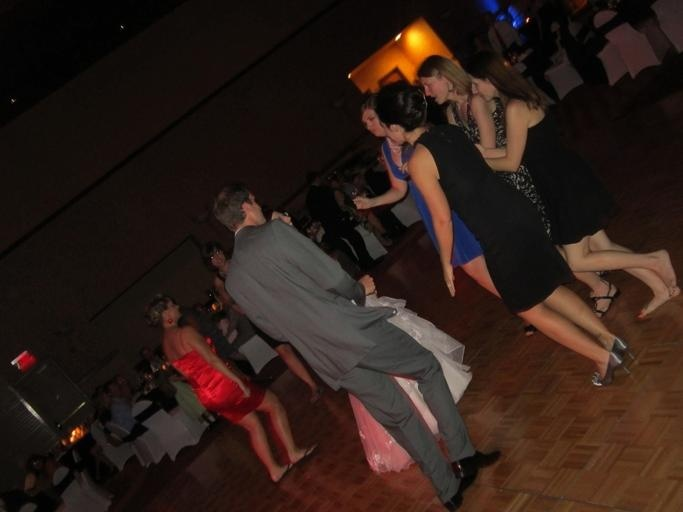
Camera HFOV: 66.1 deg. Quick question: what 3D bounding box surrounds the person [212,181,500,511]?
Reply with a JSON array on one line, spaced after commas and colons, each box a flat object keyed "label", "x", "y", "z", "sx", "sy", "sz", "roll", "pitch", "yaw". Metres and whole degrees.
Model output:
[{"label": "person", "x": 0.068, "y": 0.779, "z": 4.000, "sx": 1.077, "sy": 3.084, "sz": 1.084, "roll": -36, "pitch": 15, "yaw": 35}]

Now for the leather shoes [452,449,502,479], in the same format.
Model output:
[{"label": "leather shoes", "x": 0.832, "y": 1.288, "z": 3.263, "sx": 0.267, "sy": 0.123, "sz": 0.088, "roll": -25, "pitch": 28, "yaw": -25}]

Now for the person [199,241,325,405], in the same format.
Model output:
[{"label": "person", "x": -0.710, "y": 0.742, "z": 4.922, "sx": 0.403, "sy": 1.582, "sz": 0.421, "roll": -47, "pitch": 8, "yaw": -25}]

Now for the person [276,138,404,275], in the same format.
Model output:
[{"label": "person", "x": -0.028, "y": -0.546, "z": 6.094, "sx": 0.574, "sy": 1.665, "sz": 0.579, "roll": -47, "pitch": -21, "yaw": -25}]

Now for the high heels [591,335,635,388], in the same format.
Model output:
[{"label": "high heels", "x": 1.742, "y": 0.708, "z": 3.362, "sx": 0.196, "sy": 0.132, "sz": 0.380, "roll": -70, "pitch": -13, "yaw": -50}]

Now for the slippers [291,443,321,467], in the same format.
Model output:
[{"label": "slippers", "x": -0.298, "y": 1.560, "z": 4.227, "sx": 0.276, "sy": 0.073, "sz": 0.110, "roll": -50, "pitch": 3, "yaw": -10}]

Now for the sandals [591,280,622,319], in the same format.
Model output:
[{"label": "sandals", "x": 1.878, "y": 0.325, "z": 3.786, "sx": 0.157, "sy": 0.104, "sz": 0.298, "roll": -94, "pitch": 6, "yaw": -54}]
